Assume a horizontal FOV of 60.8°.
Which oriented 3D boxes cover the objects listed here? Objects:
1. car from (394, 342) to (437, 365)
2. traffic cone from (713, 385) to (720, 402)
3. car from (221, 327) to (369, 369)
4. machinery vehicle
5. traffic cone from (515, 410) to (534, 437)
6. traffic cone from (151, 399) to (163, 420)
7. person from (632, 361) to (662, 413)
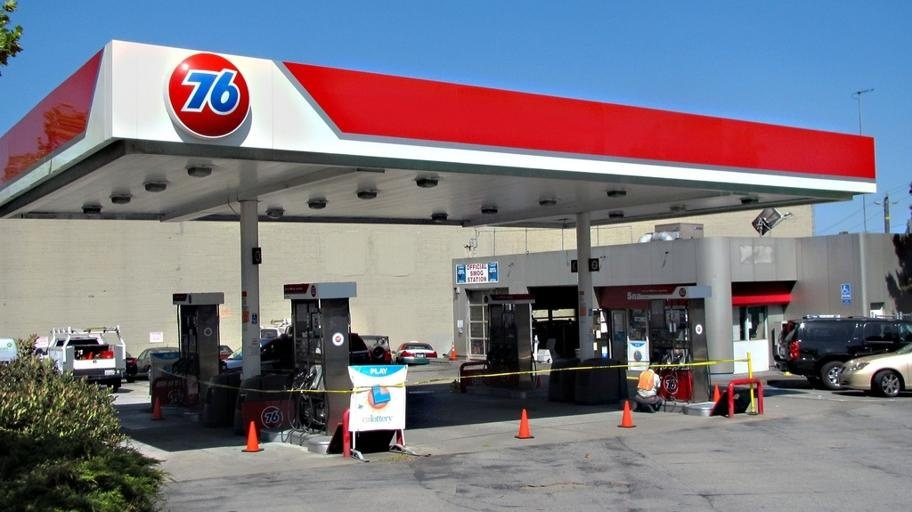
[{"bbox_3d":[-2.541,5.965,47.234,1.661,1.384,2.601,-8,-11,43],"label":"car"},{"bbox_3d":[8.606,4.540,25.535,0.227,0.512,1.029,-3,-8,17],"label":"traffic cone"},{"bbox_3d":[-6.421,4.284,33.433,5.572,2.233,2.676,0,-6,11],"label":"car"},{"bbox_3d":[-17.333,4.643,36.200,3.050,2.499,4.994,2,-3,-34],"label":"machinery vehicle"},{"bbox_3d":[2.042,4.980,23.042,0.731,0.938,0.705,-2,-1,4],"label":"traffic cone"},{"bbox_3d":[-10.275,5.268,26.659,0.313,0.725,0.971,3,-9,-23],"label":"traffic cone"},{"bbox_3d":[6.571,4.523,26.335,1.025,1.486,0.992,6,-2,17],"label":"person"}]
